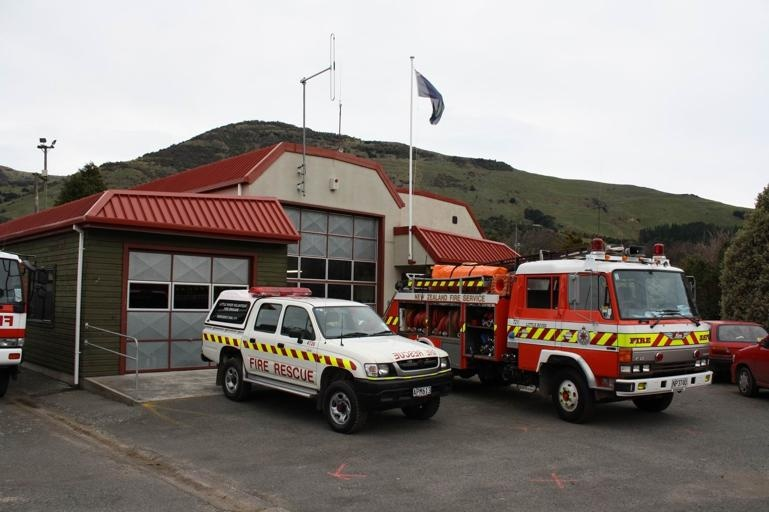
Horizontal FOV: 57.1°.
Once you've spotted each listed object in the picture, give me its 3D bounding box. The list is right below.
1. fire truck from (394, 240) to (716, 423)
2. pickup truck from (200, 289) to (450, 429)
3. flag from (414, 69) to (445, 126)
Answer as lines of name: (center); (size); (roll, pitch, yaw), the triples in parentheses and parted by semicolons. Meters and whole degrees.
fire truck: (3.751, 1.705, 18.422); (8.556, 3.785, 2.829); (5, 8, 39)
pickup truck: (-1.751, 2.325, 17.759); (2.857, 3.107, 7.149); (2, -1, -44)
flag: (1.845, -6.417, 28.868); (1.059, 2.160, 1.731); (1, 6, 5)
